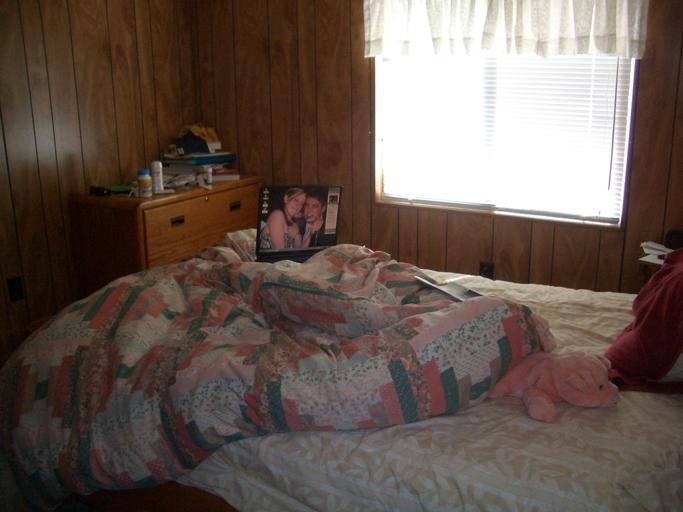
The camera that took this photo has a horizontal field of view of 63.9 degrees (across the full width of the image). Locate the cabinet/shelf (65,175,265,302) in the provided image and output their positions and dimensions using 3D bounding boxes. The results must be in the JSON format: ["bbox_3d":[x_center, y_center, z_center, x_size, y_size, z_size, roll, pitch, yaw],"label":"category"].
[{"bbox_3d":[-0.941,-0.090,2.727,0.215,0.556,0.571,1,20,33],"label":"cabinet/shelf"}]

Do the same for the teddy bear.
[{"bbox_3d":[0.639,0.376,1.668,0.381,0.117,0.351,-3,9,33],"label":"teddy bear"}]

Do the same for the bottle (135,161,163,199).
[{"bbox_3d":[-1.058,-0.419,3.041,0.122,0.233,0.221,1,0,10],"label":"bottle"}]

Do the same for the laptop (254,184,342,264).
[{"bbox_3d":[-0.203,-0.203,2.503,0.370,0.298,0.326,0,12,-3],"label":"laptop"}]
